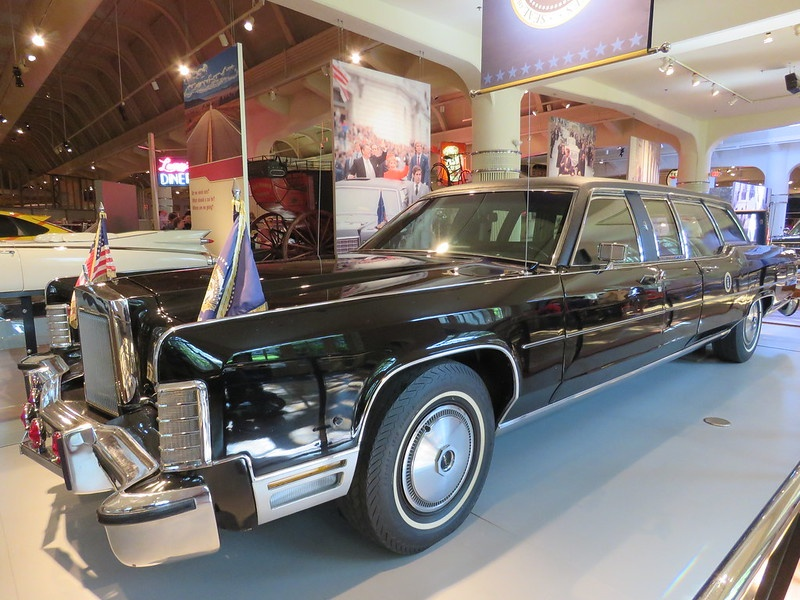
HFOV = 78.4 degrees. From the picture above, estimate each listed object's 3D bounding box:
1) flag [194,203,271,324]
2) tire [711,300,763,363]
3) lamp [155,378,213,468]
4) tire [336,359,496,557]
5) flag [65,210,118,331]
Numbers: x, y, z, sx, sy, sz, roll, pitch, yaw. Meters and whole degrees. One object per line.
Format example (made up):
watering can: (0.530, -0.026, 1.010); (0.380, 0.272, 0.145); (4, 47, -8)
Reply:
flag: (-0.643, -0.167, 1.942); (0.240, 0.515, 0.055); (-3, 8, -33)
tire: (2.968, 0.279, 4.367); (0.433, 0.440, 0.148); (-31, 27, -35)
lamp: (-0.789, 0.454, 1.810); (0.207, 0.311, 0.223); (-4, -3, 17)
tire: (0.051, 0.704, 2.167); (0.772, 0.782, 0.271); (12, 5, -42)
flag: (-1.588, -0.194, 2.576); (0.239, 0.649, 0.095); (-2, -12, -25)
